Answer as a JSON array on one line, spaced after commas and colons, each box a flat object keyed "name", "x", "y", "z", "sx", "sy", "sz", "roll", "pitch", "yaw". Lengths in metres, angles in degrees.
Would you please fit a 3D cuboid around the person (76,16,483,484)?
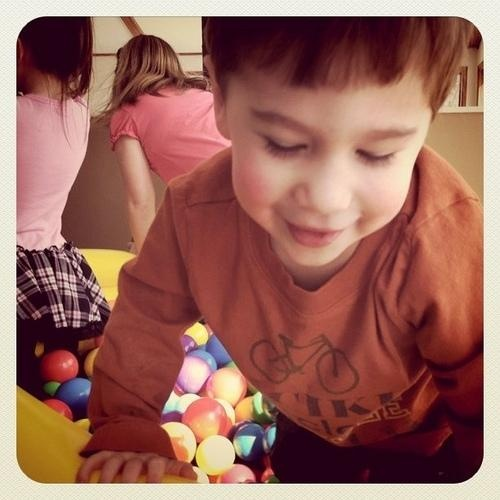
[{"name": "person", "x": 0.065, "y": -0.020, "z": 0.934, "sx": 0.570, "sy": 1.068, "sz": 0.496, "roll": 6, "pitch": 32, "yaw": 13}]

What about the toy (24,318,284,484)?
[{"name": "toy", "x": -0.200, "y": 0.389, "z": 1.049, "sx": 0.396, "sy": 0.123, "sz": 0.426, "roll": 7, "pitch": 24, "yaw": -28}]

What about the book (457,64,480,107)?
[{"name": "book", "x": 0.420, "y": -0.308, "z": 0.884, "sx": 0.007, "sy": 0.075, "sz": 0.039, "roll": -13, "pitch": 8, "yaw": 33}]
